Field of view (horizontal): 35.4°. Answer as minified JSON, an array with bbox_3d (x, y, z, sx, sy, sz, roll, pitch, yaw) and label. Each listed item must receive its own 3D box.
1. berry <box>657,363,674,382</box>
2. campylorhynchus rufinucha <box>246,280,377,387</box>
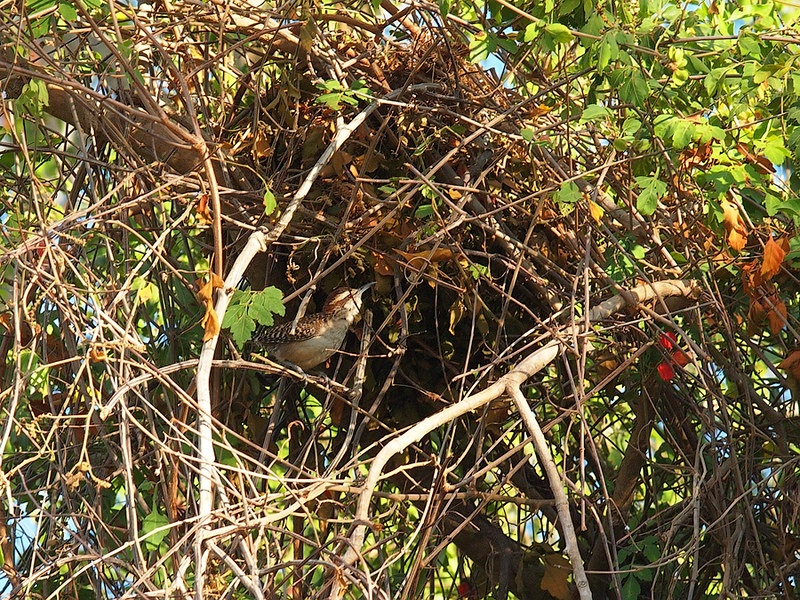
[{"bbox_3d":[1.009,0.271,4.755,0.054,0.075,0.072,2,-6,-17],"label":"berry"},{"bbox_3d":[-0.340,0.084,4.829,0.449,0.420,0.226,11,-1,15],"label":"campylorhynchus rufinucha"}]
